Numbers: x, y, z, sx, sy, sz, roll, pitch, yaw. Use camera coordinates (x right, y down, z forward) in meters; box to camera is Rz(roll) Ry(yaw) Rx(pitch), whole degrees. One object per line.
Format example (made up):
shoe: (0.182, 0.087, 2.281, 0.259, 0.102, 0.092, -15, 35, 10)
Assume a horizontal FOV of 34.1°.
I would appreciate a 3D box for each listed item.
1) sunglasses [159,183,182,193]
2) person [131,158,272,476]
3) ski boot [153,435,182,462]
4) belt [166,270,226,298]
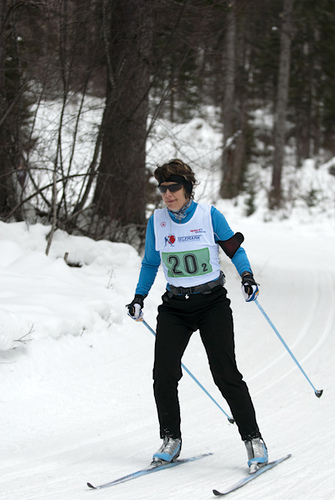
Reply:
sunglasses: (0.009, -0.396, 3.504, 0.157, 0.063, 0.064, 5, 10, 33)
person: (0.196, 0.422, 3.503, 1.016, 1.984, 0.781, 3, 9, 14)
ski boot: (0.014, 1.272, 3.535, 0.097, 0.117, 0.278, -2, -2, 20)
belt: (0.180, 0.239, 3.427, 0.319, 0.184, 0.201, -1, 14, 11)
